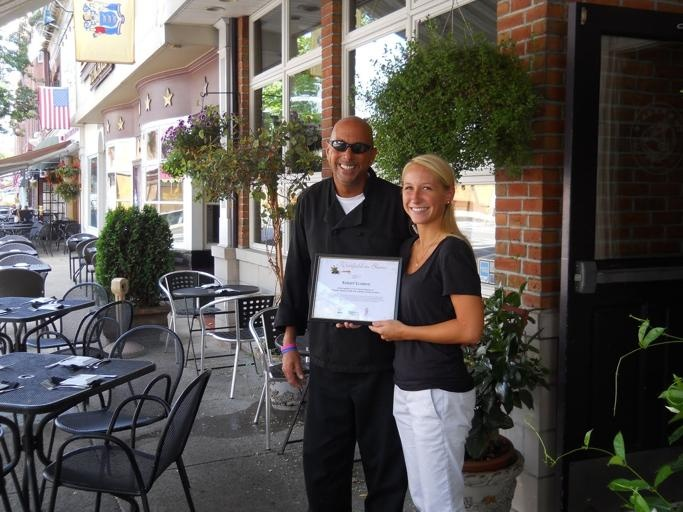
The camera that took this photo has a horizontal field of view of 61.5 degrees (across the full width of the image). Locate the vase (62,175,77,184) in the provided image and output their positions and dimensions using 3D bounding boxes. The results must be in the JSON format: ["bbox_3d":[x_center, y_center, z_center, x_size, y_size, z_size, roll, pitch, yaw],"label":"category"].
[{"bbox_3d":[-11.924,-3.347,25.225,0.449,0.313,0.452,2,8,25],"label":"vase"}]

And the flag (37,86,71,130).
[{"bbox_3d":[-11.059,-5.728,22.189,1.328,1.576,0.556,1,6,5],"label":"flag"}]

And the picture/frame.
[{"bbox_3d":[0.073,0.159,2.606,0.310,0.257,0.033,4,-12,13],"label":"picture/frame"}]
